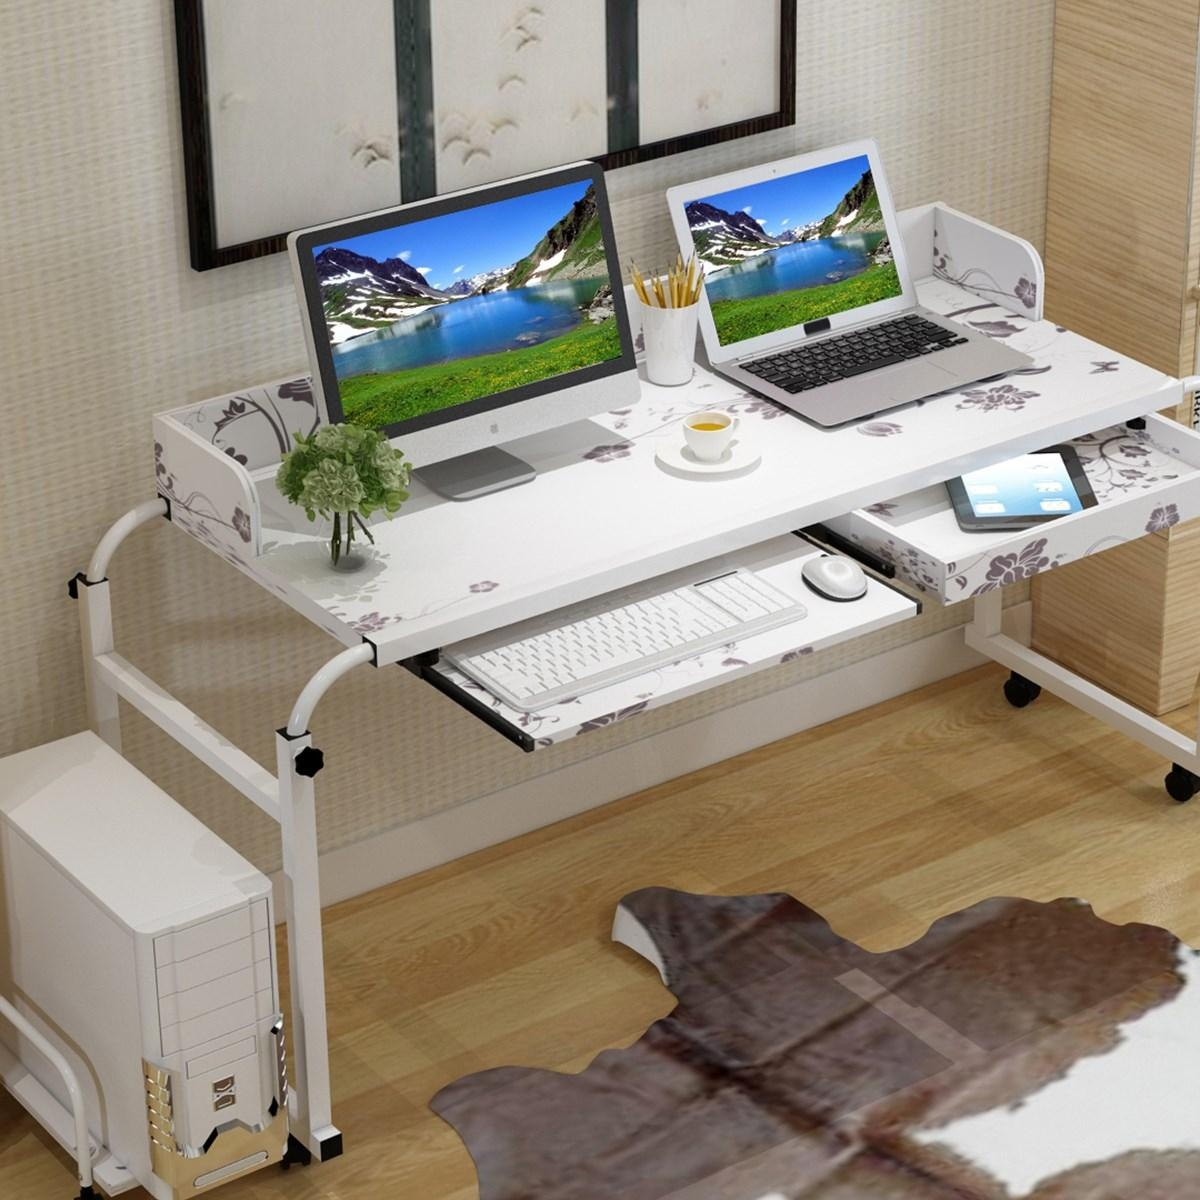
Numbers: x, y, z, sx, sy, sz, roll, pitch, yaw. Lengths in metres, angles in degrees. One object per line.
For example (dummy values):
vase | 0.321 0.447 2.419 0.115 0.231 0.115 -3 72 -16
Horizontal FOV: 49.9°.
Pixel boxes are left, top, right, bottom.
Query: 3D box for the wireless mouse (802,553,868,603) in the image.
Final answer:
wireless mouse | 0.274 -0.023 1.495 0.056 0.019 0.070 -21 37 -25

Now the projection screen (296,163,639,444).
projection screen | -0.127 -0.343 1.611 0.581 0.325 0.165 -3 21 41
